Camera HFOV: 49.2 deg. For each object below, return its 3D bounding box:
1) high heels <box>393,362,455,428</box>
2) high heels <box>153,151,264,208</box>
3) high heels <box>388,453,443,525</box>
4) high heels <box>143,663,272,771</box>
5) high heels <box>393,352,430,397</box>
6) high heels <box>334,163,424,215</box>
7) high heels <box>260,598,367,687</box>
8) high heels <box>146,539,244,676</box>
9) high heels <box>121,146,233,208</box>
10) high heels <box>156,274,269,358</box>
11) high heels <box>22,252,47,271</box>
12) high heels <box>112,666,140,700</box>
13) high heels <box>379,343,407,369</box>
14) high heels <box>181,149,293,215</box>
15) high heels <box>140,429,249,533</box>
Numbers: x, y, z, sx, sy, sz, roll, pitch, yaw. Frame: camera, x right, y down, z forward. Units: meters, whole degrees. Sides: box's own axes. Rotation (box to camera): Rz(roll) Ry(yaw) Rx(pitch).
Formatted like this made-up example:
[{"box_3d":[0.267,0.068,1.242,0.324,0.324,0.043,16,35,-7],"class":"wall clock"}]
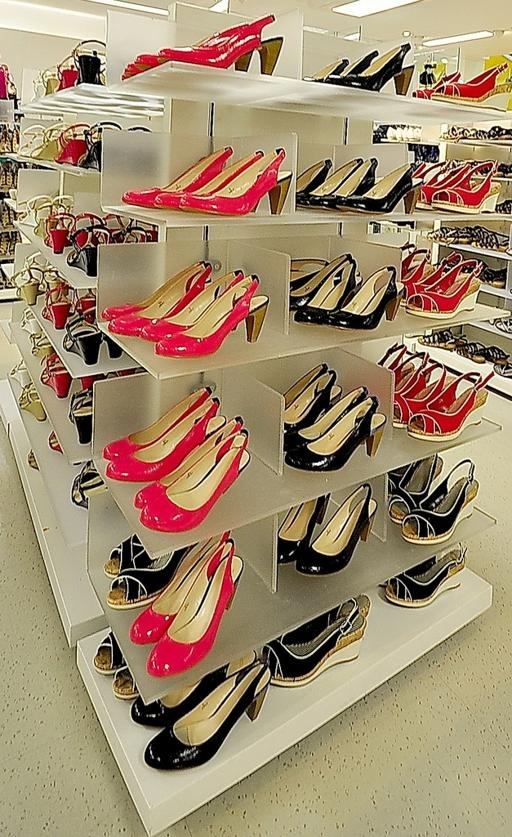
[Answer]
[{"box_3d":[0.557,-0.074,1.874,0.112,0.096,0.336,7,27,33],"class":"high heels"},{"box_3d":[-0.106,-0.515,1.205,0.207,0.079,0.125,-37,43,-23],"class":"high heels"},{"box_3d":[0.594,0.283,2.082,0.130,0.100,0.378,-17,23,38],"class":"high heels"},{"box_3d":[-0.122,0.707,1.372,0.328,0.146,0.116,-26,59,-40],"class":"high heels"},{"box_3d":[0.566,-0.159,2.051,0.093,0.094,0.286,8,36,27],"class":"high heels"},{"box_3d":[0.319,-0.603,1.463,0.170,0.142,0.334,7,16,15],"class":"high heels"},{"box_3d":[0.176,0.663,1.596,0.298,0.116,0.159,-23,43,-9],"class":"high heels"},{"box_3d":[-0.138,0.414,1.272,0.098,0.136,0.320,14,50,28],"class":"high heels"},{"box_3d":[-0.180,-0.527,1.223,0.213,0.097,0.135,-30,49,-20],"class":"high heels"},{"box_3d":[-0.098,-0.221,1.175,0.137,0.153,0.299,7,16,18],"class":"high heels"},{"box_3d":[-1.099,-0.789,2.803,0.095,0.080,0.196,-10,33,-18],"class":"high heels"},{"box_3d":[-0.327,0.671,1.416,0.058,0.035,0.109,-12,57,-8],"class":"high heels"},{"box_3d":[0.510,-0.235,2.101,0.057,0.064,0.166,13,35,29],"class":"high heels"},{"box_3d":[-0.037,-0.477,1.104,0.130,0.149,0.269,6,16,14],"class":"high heels"},{"box_3d":[-0.114,0.142,1.224,0.119,0.122,0.302,32,55,27],"class":"high heels"}]
